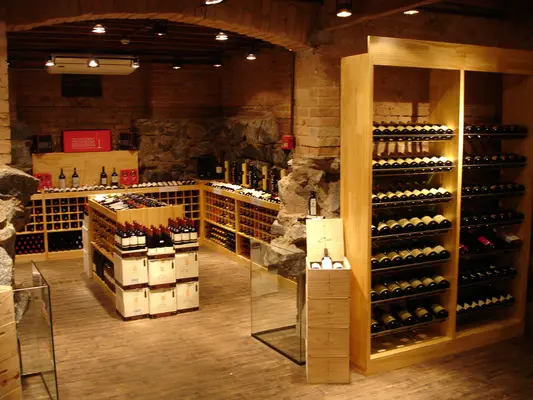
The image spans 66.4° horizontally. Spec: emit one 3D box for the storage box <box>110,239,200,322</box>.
[{"bbox_3d":[-1.599,1.156,5.918,1.642,1.070,0.738,-2,6,-22],"label":"storage box"}]

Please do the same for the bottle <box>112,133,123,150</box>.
[{"bbox_3d":[-3.533,-1.408,9.683,0.220,0.405,0.425,-6,12,-20],"label":"bottle"}]

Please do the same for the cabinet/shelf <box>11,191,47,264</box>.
[{"bbox_3d":[-4.898,0.562,8.454,0.656,1.369,0.438,-7,14,-23],"label":"cabinet/shelf"}]

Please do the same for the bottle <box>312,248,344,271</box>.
[{"bbox_3d":[0.690,0.651,4.434,0.307,0.130,0.253,0,1,-2],"label":"bottle"}]

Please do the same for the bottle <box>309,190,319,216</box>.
[{"bbox_3d":[0.698,0.043,5.907,0.124,0.364,0.131,-1,13,0],"label":"bottle"}]

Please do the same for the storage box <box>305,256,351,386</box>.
[{"bbox_3d":[0.667,1.337,4.323,0.454,1.244,0.235,-1,13,3],"label":"storage box"}]

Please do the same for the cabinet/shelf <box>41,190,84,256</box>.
[{"bbox_3d":[-4.344,0.470,8.685,1.010,1.281,1.678,-2,4,-27],"label":"cabinet/shelf"}]

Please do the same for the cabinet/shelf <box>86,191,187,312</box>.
[{"bbox_3d":[-2.013,0.849,6.304,1.216,1.123,2.008,-5,8,-26],"label":"cabinet/shelf"}]

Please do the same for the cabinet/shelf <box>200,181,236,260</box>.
[{"bbox_3d":[-1.179,0.471,9.553,0.517,1.164,1.393,-22,-23,10],"label":"cabinet/shelf"}]

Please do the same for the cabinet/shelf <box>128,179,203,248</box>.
[{"bbox_3d":[-2.388,0.274,9.545,1.701,1.072,0.488,-1,2,-23],"label":"cabinet/shelf"}]

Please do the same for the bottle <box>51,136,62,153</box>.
[{"bbox_3d":[-4.708,-1.274,9.196,0.190,0.347,0.362,-6,12,-20],"label":"bottle"}]
